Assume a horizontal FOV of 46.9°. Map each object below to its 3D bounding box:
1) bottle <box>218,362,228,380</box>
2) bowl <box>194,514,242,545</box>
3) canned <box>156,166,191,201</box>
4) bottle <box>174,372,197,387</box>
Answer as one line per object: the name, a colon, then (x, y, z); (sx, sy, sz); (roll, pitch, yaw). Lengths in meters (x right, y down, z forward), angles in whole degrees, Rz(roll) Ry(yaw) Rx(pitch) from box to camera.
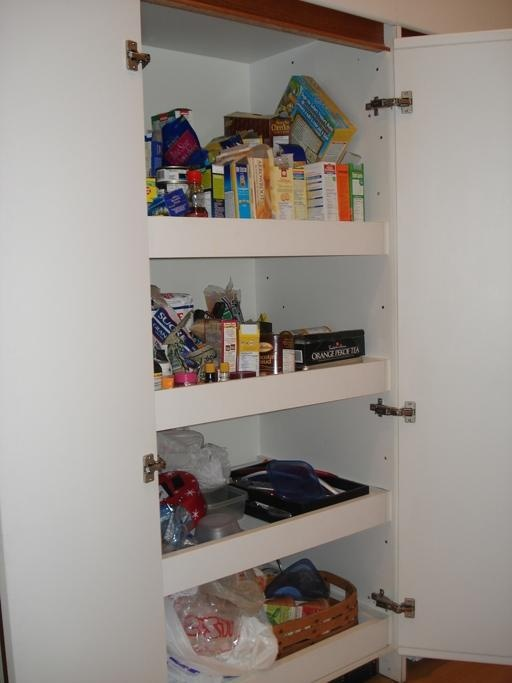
bottle: (-0.068, 0.061, 1.200); (0.022, 0.035, 0.068); (-2, 6, -2)
bowl: (-0.092, 0.411, 1.306); (0.054, 0.028, 0.055); (-4, 4, 0)
canned: (-0.171, -0.321, 1.199); (0.058, 0.061, 0.058); (5, 11, 32)
bottle: (-0.134, 0.072, 1.130); (0.048, 0.025, 0.041); (-4, 6, -16)
